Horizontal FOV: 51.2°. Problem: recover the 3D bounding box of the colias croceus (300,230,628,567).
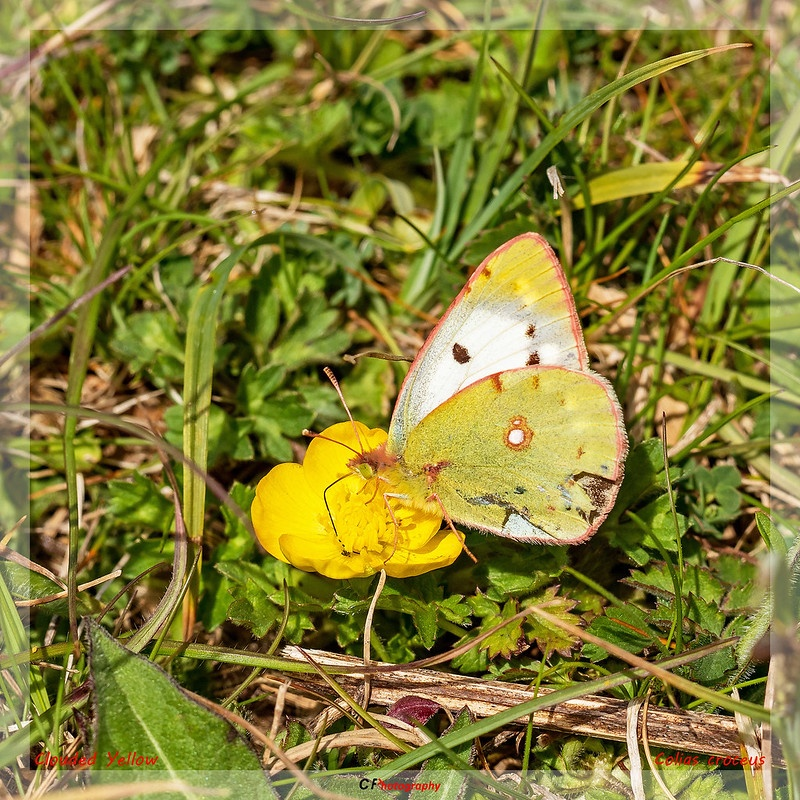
[{"bbox_3d":[0.139,0.025,2.666,0.921,0.937,0.777,-6,-68,-5],"label":"colias croceus"}]
